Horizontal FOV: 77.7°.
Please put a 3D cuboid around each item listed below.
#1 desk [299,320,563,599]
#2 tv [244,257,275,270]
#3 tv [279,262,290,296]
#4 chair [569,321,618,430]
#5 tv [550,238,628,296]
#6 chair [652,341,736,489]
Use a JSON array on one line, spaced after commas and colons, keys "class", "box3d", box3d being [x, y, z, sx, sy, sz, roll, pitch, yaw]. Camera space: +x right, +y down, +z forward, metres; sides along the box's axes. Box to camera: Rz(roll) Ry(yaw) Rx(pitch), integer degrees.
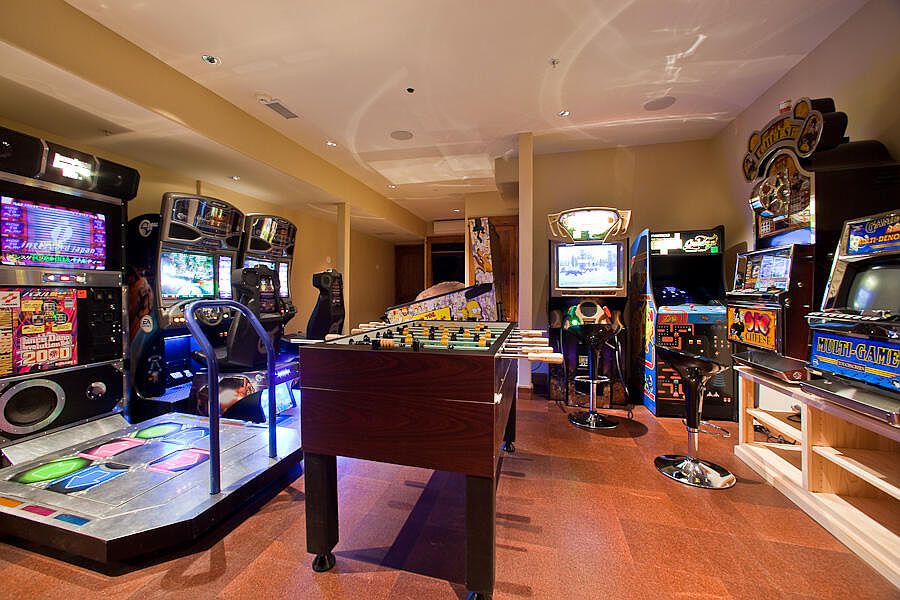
[{"class": "desk", "box3d": [-0.205, 1.213, 4.564, 1.865, 1.854, 1.234, 0, 3, 2]}, {"class": "tv", "box3d": [-2.564, -0.487, 7.602, 0.168, 0.121, 0.627, 1, 3, 13]}, {"class": "tv", "box3d": [-2.394, -0.290, 8.021, 0.109, 0.386, 0.284, 4, 5, 14]}, {"class": "chair", "box3d": [1.587, 0.794, 6.179, 0.527, 1.088, 0.701, 0, 3, 13]}, {"class": "tv", "box3d": [1.651, -0.355, 6.492, 0.711, 0.488, 0.109, -1, -7, 10]}, {"class": "chair", "box3d": [2.247, 1.019, 5.111, 0.688, 1.241, 0.517, 1, 3, 23]}]
